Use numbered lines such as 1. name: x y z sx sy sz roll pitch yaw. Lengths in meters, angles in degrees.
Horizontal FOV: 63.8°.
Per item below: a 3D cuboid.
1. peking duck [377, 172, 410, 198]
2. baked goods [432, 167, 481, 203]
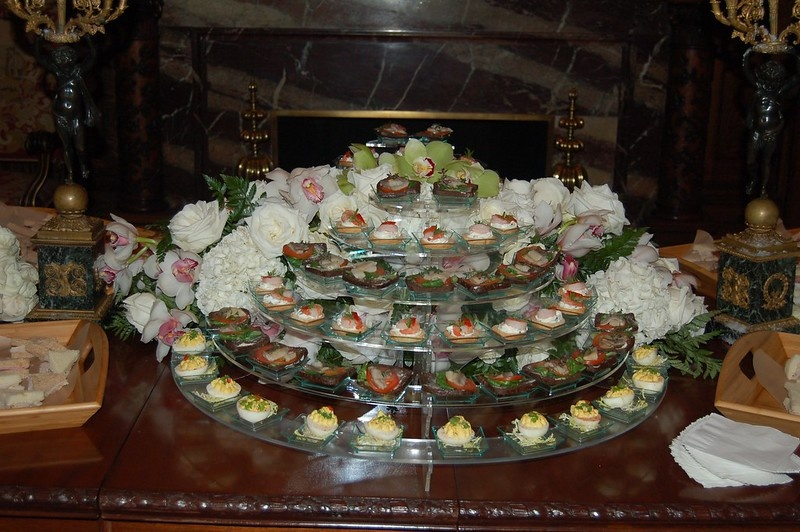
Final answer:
1. peking duck: -0.021 -0.241 1.968 0.083 0.029 0.076 -5 31 -4
2. baked goods: 0.173 -0.247 2.003 0.135 0.115 0.044 -8 -39 -2
